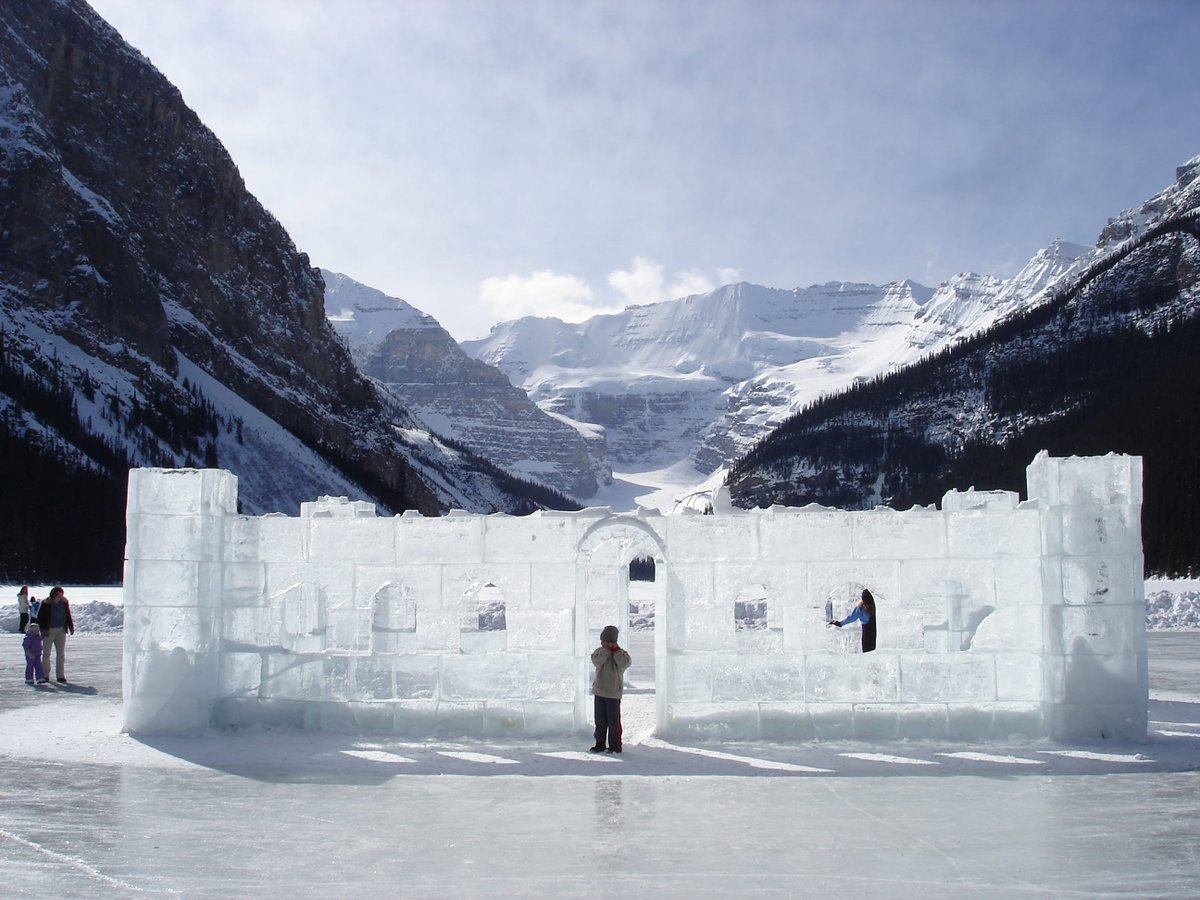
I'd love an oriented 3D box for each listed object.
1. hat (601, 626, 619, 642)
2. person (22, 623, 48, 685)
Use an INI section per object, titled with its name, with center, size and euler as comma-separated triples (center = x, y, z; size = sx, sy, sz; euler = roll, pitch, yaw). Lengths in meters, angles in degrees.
[hat]
center = 0.404, 8.406, 98.148
size = 0.663, 0.769, 0.575
euler = 3, -10, -14
[person]
center = -27.555, 9.931, 104.941
size = 0.962, 3.188, 0.774
euler = -2, -10, 13
